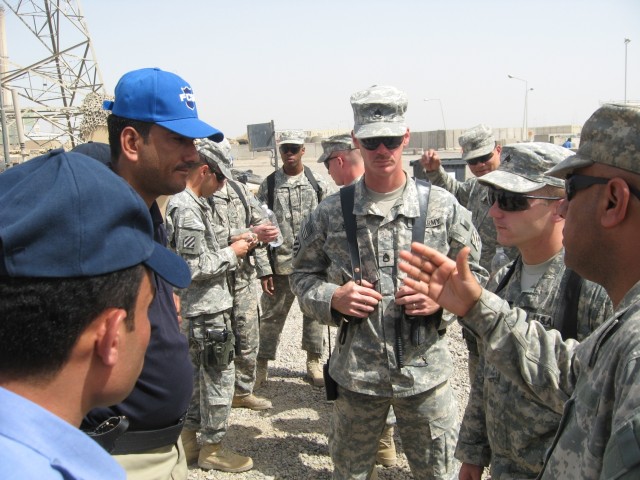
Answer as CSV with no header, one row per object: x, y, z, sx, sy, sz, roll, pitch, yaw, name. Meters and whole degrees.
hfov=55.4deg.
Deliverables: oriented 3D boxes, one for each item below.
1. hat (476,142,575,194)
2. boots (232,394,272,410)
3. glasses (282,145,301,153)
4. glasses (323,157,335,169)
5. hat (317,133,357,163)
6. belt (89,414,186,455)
1.063,-0.370,3.170,0.414,0.158,0.289,-1,5,-24,hat
-0.639,1.495,5.787,0.387,0.172,0.147,1,11,-3,boots
-0.357,-1.057,7.040,0.123,0.130,0.044,-2,15,8,glasses
0.087,-0.814,6.308,0.071,0.132,0.094,8,-10,-30,glasses
0.153,-0.939,6.089,0.333,0.149,0.231,-17,7,35,hat
-0.796,0.817,2.641,0.256,0.101,0.184,7,-8,-29,belt
